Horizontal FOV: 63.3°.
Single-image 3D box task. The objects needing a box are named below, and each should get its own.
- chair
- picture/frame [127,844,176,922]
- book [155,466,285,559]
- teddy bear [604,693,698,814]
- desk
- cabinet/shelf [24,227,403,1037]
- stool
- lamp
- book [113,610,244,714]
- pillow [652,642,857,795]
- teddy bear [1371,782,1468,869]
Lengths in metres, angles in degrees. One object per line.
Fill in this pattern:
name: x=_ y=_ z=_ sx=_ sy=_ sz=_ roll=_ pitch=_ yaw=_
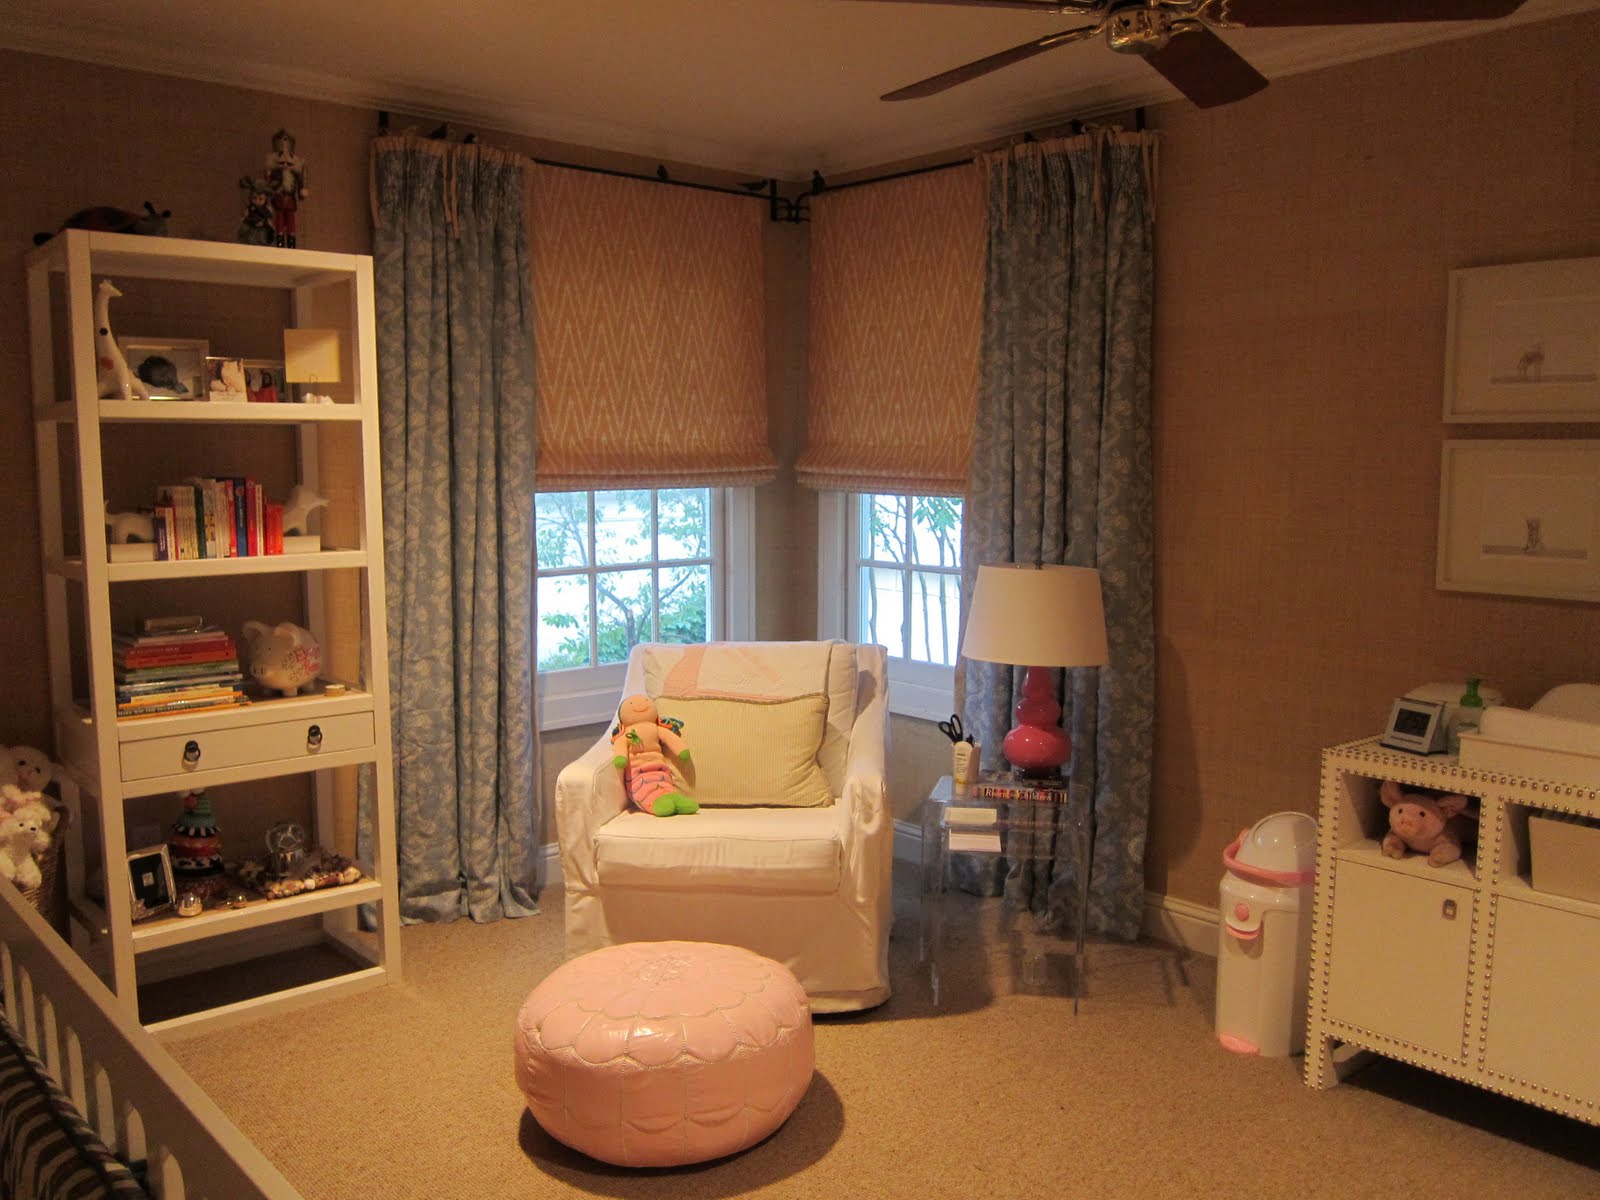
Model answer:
chair: x=-0.223 y=0.693 z=4.625 sx=1.100 sy=1.180 sz=1.145 roll=0 pitch=1 yaw=7
picture/frame: x=-2.057 y=0.902 z=4.128 sx=0.125 sy=0.192 sz=0.139 roll=-7 pitch=15 yaw=-28
book: x=-1.845 y=-0.254 z=4.131 sx=0.396 sy=0.244 sz=0.220 roll=-7 pitch=15 yaw=-29
teddy bear: x=-0.530 y=0.539 z=4.442 sx=0.286 sy=0.204 sz=0.511 roll=0 pitch=38 yaw=-29
desk: x=0.700 y=0.930 z=4.581 sx=0.669 sy=0.951 sz=0.694 roll=0 pitch=1 yaw=23
cabinet/shelf: x=-1.816 y=0.155 z=4.364 sx=0.890 sy=2.409 sz=0.550 roll=-4 pitch=4 yaw=-18
stool: x=-0.370 y=1.233 z=3.539 sx=0.792 sy=0.395 sz=0.468 roll=-3 pitch=13 yaw=-13
lamp: x=0.779 y=0.248 z=4.322 sx=0.416 sy=0.722 sz=0.310 roll=-4 pitch=14 yaw=-18
book: x=-1.962 y=0.153 z=4.097 sx=0.268 sy=0.243 sz=0.367 roll=1 pitch=2 yaw=41
pillow: x=-0.140 y=0.340 z=4.463 sx=0.683 sy=0.522 sz=0.343 roll=-1 pitch=8 yaw=5
teddy bear: x=1.779 y=0.636 z=3.738 sx=0.202 sy=0.217 sz=0.232 roll=1 pitch=5 yaw=24
